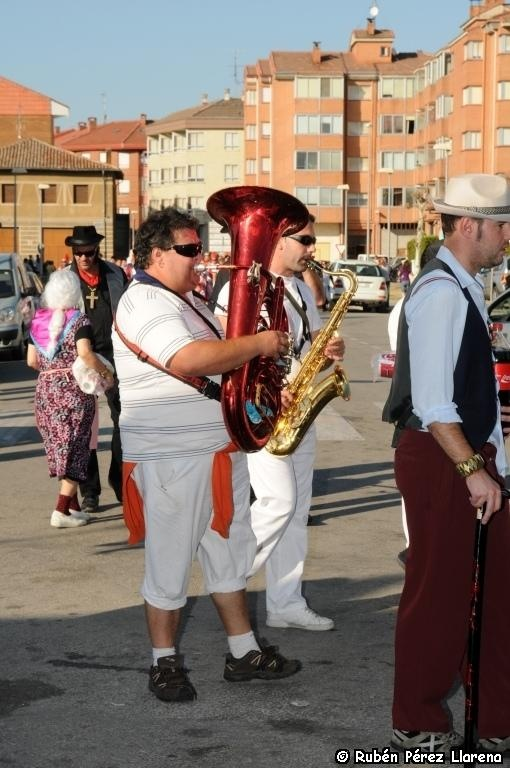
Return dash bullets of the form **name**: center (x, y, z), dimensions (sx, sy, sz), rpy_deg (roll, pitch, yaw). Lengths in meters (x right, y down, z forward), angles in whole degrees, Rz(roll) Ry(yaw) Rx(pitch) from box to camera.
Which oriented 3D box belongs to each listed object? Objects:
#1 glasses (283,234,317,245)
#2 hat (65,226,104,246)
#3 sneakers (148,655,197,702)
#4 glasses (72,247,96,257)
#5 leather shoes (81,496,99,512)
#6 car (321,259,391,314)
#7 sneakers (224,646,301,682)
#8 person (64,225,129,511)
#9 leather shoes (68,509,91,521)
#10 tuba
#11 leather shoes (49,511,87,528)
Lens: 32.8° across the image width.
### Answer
- **glasses**: center (0.223, -0.683, 4.072), dimensions (0.092, 0.025, 0.085), rpy_deg (5, 4, 15)
- **hat**: center (-1.339, -1.162, 6.840), dimensions (0.257, 0.109, 0.297), rpy_deg (-3, 4, 2)
- **sneakers**: center (-0.315, 1.083, 3.219), dimensions (0.132, 0.140, 0.306), rpy_deg (0, -1, -25)
- **glasses**: center (-1.337, -1.035, 6.790), dimensions (0.162, 0.069, 0.130), rpy_deg (0, 3, -14)
- **leather shoes**: center (-1.268, 0.916, 6.647), dimensions (0.112, 0.115, 0.302), rpy_deg (1, -5, -6)
- **car**: center (4.192, -3.388, 33.250), dimensions (2.786, 2.221, 6.280), rpy_deg (0, 11, -3)
- **sneakers**: center (0.027, 1.071, 3.470), dimensions (0.355, 0.117, 0.150), rpy_deg (0, 5, 1)
- **person**: center (-1.199, -0.072, 6.944), dimensions (0.843, 2.327, 0.827), rpy_deg (-2, 15, -12)
- **leather shoes**: center (-1.278, 0.942, 6.283), dimensions (0.058, 0.061, 0.157), rpy_deg (18, -14, 44)
- **tuba**: center (-0.014, -0.249, 3.165), dimensions (0.356, 0.981, 0.532), rpy_deg (1, 3, 11)
- **leather shoes**: center (-1.340, 0.955, 6.208), dimensions (0.239, 0.089, 0.114), rpy_deg (0, 4, -42)
